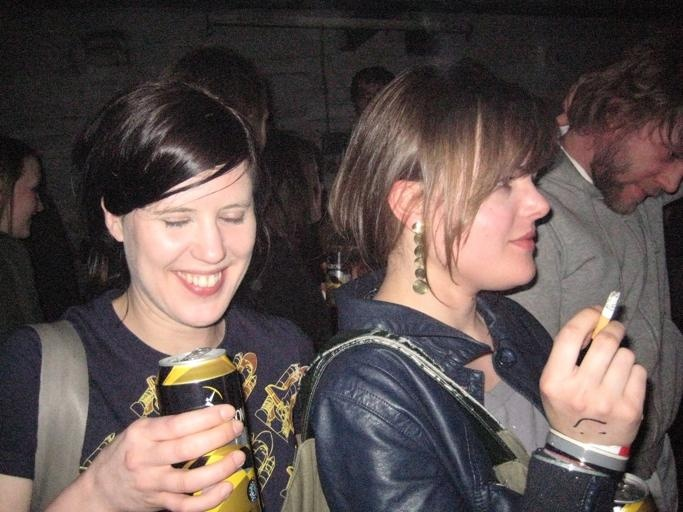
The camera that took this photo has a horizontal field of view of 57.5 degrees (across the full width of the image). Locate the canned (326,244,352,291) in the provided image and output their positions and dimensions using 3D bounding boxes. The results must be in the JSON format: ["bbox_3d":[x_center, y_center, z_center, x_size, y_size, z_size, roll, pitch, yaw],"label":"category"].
[{"bbox_3d":[-0.052,0.111,3.825,0.175,0.256,0.161,-4,7,-5],"label":"canned"}]
